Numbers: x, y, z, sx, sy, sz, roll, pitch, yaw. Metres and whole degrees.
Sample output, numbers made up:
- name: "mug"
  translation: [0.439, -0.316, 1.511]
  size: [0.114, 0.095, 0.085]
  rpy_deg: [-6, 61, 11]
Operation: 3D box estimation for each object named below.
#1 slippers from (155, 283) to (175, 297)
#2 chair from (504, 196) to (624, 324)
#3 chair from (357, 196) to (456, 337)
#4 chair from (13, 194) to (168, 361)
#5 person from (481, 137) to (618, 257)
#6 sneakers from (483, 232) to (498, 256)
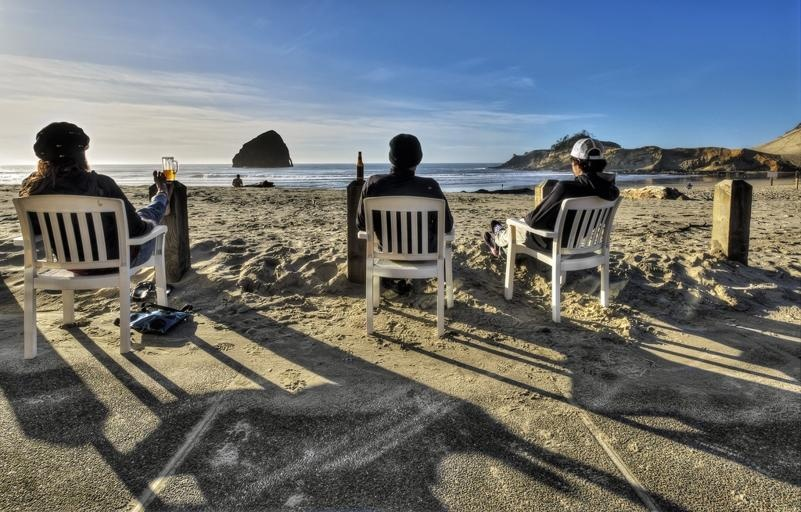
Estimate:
- name: "slippers"
  translation: [-2.920, 0.391, 5.701]
  size: [0.236, 0.075, 0.193]
  rpy_deg: [13, 26, -24]
- name: "chair"
  translation: [1.976, -0.073, 5.717]
  size: [1.300, 1.296, 1.261]
  rpy_deg: [8, 15, 32]
- name: "chair"
  translation: [0.060, 0.064, 5.021]
  size: [1.019, 1.429, 0.731]
  rpy_deg: [2, 14, 5]
- name: "chair"
  translation: [-3.177, 0.159, 4.800]
  size: [1.906, 1.453, 1.836]
  rpy_deg: [-3, 5, -40]
- name: "person"
  translation: [1.930, -0.671, 6.002]
  size: [0.946, 1.363, 1.836]
  rpy_deg: [7, 0, -20]
- name: "sneakers"
  translation: [1.261, -0.162, 6.483]
  size: [0.122, 0.340, 0.158]
  rpy_deg: [-20, -10, 12]
